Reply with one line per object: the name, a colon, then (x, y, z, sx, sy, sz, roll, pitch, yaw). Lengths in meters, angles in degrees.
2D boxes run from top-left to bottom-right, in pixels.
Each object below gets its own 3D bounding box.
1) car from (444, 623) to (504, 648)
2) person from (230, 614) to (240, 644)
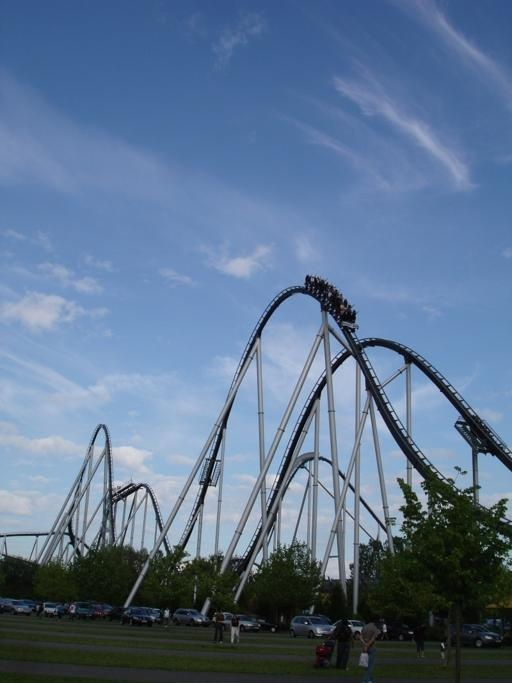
car: (8.990, 11.988, 37.037, 1.450, 0.967, 1.833, 10, -20, -14)
person: (-0.736, 9.436, 29.906, 0.296, 0.859, 0.808, 6, -20, 0)
